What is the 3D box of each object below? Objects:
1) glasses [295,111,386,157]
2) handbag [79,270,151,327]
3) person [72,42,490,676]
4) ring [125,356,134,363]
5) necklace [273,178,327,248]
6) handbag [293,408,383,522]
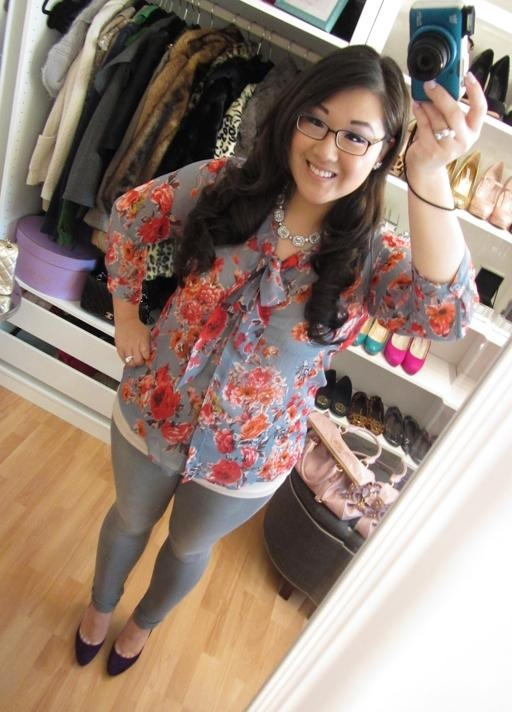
[{"bbox_3d":[0.117,-0.322,0.788,0.129,0.037,0.043,24,30,0],"label":"glasses"},{"bbox_3d":[-0.385,-0.159,1.465,0.176,0.161,0.068,29,45,6],"label":"handbag"},{"bbox_3d":[-0.103,0.127,1.091,0.653,1.432,0.350,35,32,19],"label":"person"},{"bbox_3d":[-0.244,0.006,1.034,0.012,0.016,0.006,16,-5,43],"label":"ring"},{"bbox_3d":[0.077,-0.231,0.879,0.080,0.096,0.013,-8,1,-38],"label":"necklace"},{"bbox_3d":[0.230,0.319,1.604,0.156,0.167,0.301,-1,31,-30],"label":"handbag"}]
